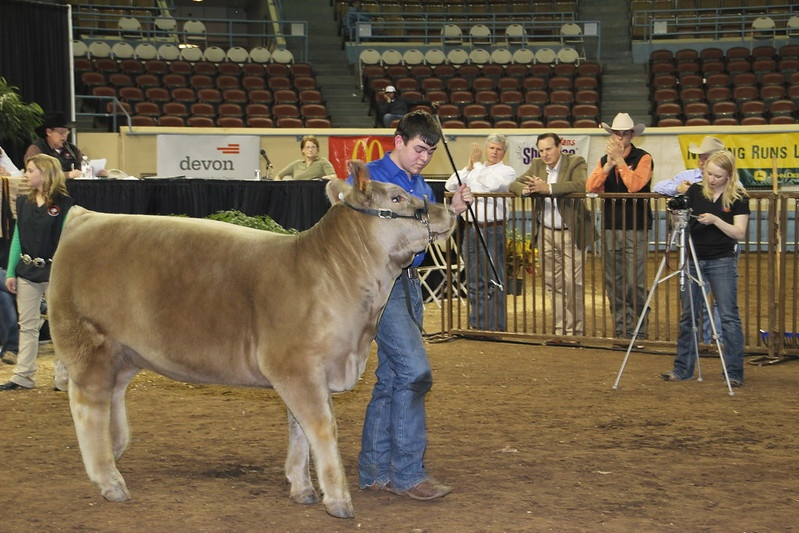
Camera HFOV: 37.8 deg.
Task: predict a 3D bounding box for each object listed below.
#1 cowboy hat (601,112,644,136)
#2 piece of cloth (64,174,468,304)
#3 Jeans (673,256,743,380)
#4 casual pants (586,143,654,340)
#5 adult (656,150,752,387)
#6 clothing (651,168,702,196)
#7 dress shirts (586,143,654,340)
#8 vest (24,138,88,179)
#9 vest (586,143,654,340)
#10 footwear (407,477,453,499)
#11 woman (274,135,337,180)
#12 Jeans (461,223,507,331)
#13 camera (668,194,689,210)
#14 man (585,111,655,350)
[{"bbox_3d":[3.556,-2.193,17.973,0.533,0.377,0.966,1,2,9],"label":"cowboy hat"},{"bbox_3d":[-1.771,-0.335,14.571,3.666,0.183,1.207,4,34,-6],"label":"piece of cloth"},{"bbox_3d":[4.312,0.562,16.095,0.944,2.117,0.518,2,24,22],"label":"Jeans"},{"bbox_3d":[3.436,-0.339,17.830,1.063,2.972,1.063,3,-5,-33],"label":"casual pants"},{"bbox_3d":[4.361,0.020,16.001,0.957,3.186,0.522,1,2,14],"label":"adult"},{"bbox_3d":[4.260,-1.248,17.449,0.580,0.171,0.550,-18,2,-39],"label":"clothing"},{"bbox_3d":[3.489,-0.354,17.826,1.008,2.943,1.078,5,-8,-40],"label":"dress shirts"},{"bbox_3d":[-5.848,-1.745,19.900,1.102,0.826,0.560,-10,-3,-20],"label":"vest"},{"bbox_3d":[3.439,-0.317,17.842,1.088,3.031,1.053,-4,-8,37],"label":"vest"},{"bbox_3d":[0.379,2.534,13.476,0.516,0.235,0.221,-8,2,6],"label":"footwear"},{"bbox_3d":[-1.758,-1.880,21.411,1.221,0.943,0.692,-2,0,16],"label":"woman"},{"bbox_3d":[1.332,0.115,18.452,0.515,1.713,0.667,0,13,-26],"label":"Jeans"},{"bbox_3d":[3.839,-0.883,15.786,0.230,0.171,0.207,4,16,3],"label":"camera"},{"bbox_3d":[3.427,-0.602,17.690,0.967,3.362,1.267,1,2,3],"label":"man"}]
